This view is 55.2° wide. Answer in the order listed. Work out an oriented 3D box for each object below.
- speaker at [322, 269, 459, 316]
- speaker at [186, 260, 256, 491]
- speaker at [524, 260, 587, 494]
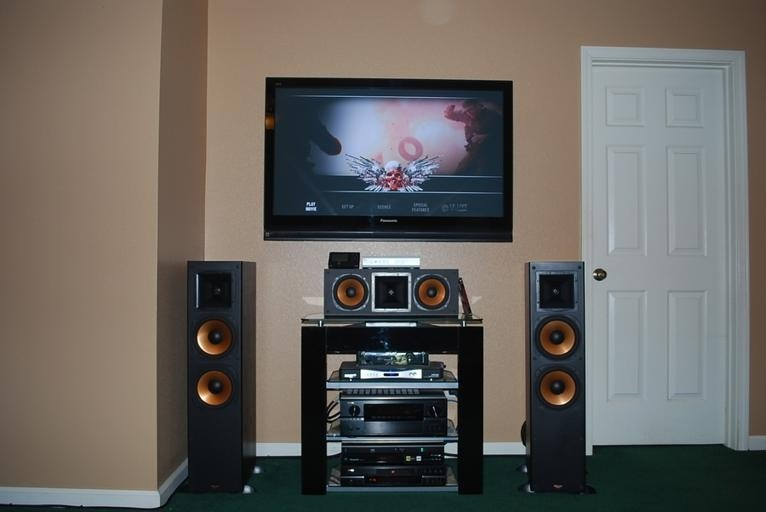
[{"bbox_3d":[0.054,0.214,4.631,0.845,0.315,0.262,0,8,2],"label":"speaker"},{"bbox_3d":[-0.978,0.735,4.507,0.458,1.406,0.270,1,-2,-24],"label":"speaker"},{"bbox_3d":[1.071,0.741,4.457,0.380,1.400,0.136,0,-2,12],"label":"speaker"}]
